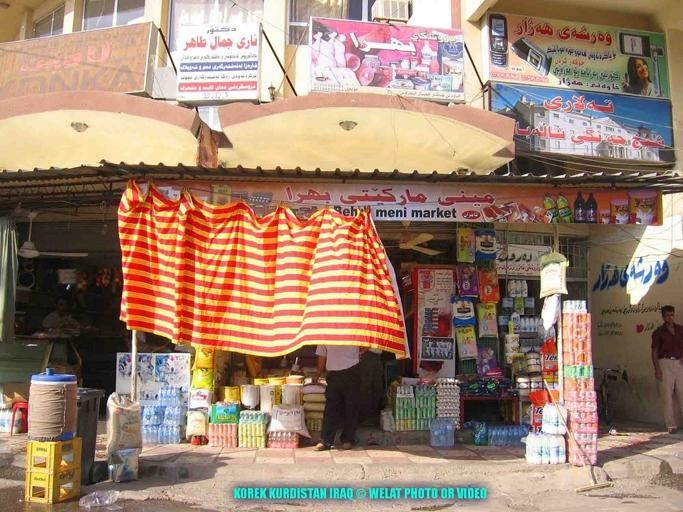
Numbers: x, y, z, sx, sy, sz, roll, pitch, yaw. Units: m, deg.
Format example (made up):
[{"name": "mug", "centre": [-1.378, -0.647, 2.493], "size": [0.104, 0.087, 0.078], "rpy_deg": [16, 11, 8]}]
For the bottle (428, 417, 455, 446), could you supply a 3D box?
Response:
[{"name": "bottle", "centre": [1.653, 2.862, 12.155], "size": [0.421, 0.445, 0.280], "rpy_deg": [0, -7, -1]}]

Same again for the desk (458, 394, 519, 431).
[{"name": "desk", "centre": [2.533, 2.602, 12.743], "size": [0.960, 0.507, 0.678], "rpy_deg": [-1, -7, 11]}]

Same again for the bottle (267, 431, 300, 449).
[{"name": "bottle", "centre": [-0.933, 2.897, 11.793], "size": [0.482, 0.240, 0.107], "rpy_deg": [-1, -7, 6]}]

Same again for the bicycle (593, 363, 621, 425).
[{"name": "bicycle", "centre": [4.964, 2.603, 13.926], "size": [0.497, 1.045, 1.682], "rpy_deg": [-3, -8, 19]}]

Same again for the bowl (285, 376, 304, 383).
[{"name": "bowl", "centre": [-0.807, 2.135, 12.999], "size": [0.299, 0.135, 0.429], "rpy_deg": [0, -7, -2]}]

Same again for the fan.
[{"name": "fan", "centre": [-5.599, -0.408, 13.994], "size": [1.210, 0.846, 0.947], "rpy_deg": [4, 1, 13]}]

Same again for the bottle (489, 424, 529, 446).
[{"name": "bottle", "centre": [2.678, 2.903, 12.143], "size": [0.453, 0.183, 0.347], "rpy_deg": [1, -7, 1]}]

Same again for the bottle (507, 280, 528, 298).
[{"name": "bottle", "centre": [3.219, 0.594, 13.775], "size": [0.350, 0.316, 0.325], "rpy_deg": [2, -3, 4]}]

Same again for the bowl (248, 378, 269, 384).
[{"name": "bowl", "centre": [-1.406, 2.148, 12.878], "size": [0.297, 0.091, 0.428], "rpy_deg": [1, -7, -11]}]

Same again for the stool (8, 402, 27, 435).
[{"name": "stool", "centre": [-5.406, 2.707, 12.568], "size": [0.250, 0.516, 0.367], "rpy_deg": [3, -8, -24]}]
